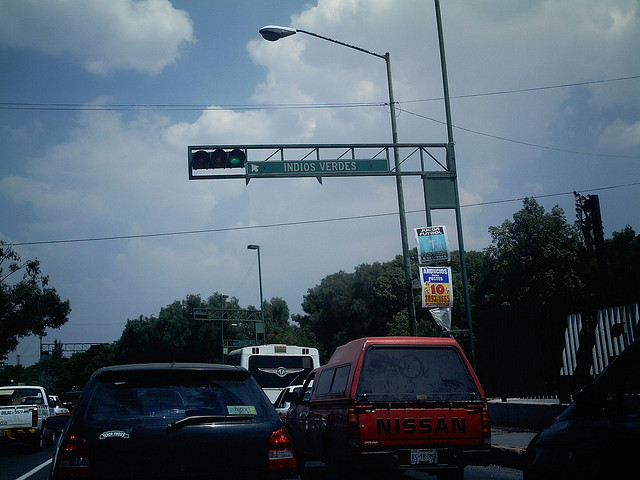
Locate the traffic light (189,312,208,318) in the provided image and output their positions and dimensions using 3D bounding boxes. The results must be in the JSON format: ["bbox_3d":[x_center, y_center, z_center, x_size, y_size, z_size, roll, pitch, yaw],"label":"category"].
[{"bbox_3d":[-8.990,5.642,47.460,0.726,0.413,1.491,-4,-9,19],"label":"traffic light"}]

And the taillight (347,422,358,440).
[{"bbox_3d":[0.456,2.663,8.820,0.142,0.224,0.045,-4,-8,22],"label":"taillight"}]

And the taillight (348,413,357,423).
[{"bbox_3d":[0.456,2.496,8.877,0.129,0.125,0.049,-3,-8,10],"label":"taillight"}]

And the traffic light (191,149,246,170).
[{"bbox_3d":[-3.262,-2.587,20.297,1.730,0.658,0.225,0,-8,-6],"label":"traffic light"}]

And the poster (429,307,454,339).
[{"bbox_3d":[3.822,2.476,19.870,0.576,0.682,0.924,-3,-8,10],"label":"poster"}]

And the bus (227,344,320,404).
[{"bbox_3d":[-1.335,4.631,20.303,2.050,2.214,3.390,2,-6,-17],"label":"bus"}]

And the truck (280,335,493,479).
[{"bbox_3d":[0.875,2.700,10.468,1.921,1.889,3.643,4,-12,-14],"label":"truck"}]

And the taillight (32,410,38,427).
[{"bbox_3d":[-7.462,4.662,16.517,0.135,0.452,0.326,3,-9,-25],"label":"taillight"}]

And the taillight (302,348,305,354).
[{"bbox_3d":[-0.535,3.642,20.674,0.118,0.243,0.123,-1,-5,2],"label":"taillight"}]

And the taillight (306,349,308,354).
[{"bbox_3d":[-0.431,3.664,20.744,0.045,0.144,0.116,-1,-8,0],"label":"taillight"}]

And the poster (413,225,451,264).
[{"bbox_3d":[3.434,0.156,19.270,0.983,1.158,0.119,-8,-11,-2],"label":"poster"}]

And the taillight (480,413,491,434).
[{"bbox_3d":[2.388,2.623,9.066,0.100,0.284,0.224,-8,-11,42],"label":"taillight"}]

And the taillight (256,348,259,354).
[{"bbox_3d":[-2.017,3.576,20.360,0.085,0.183,0.147,-1,-8,-4],"label":"taillight"}]

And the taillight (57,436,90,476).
[{"bbox_3d":[-2.074,1.835,5.349,0.177,0.364,0.327,4,-5,-19],"label":"taillight"}]
